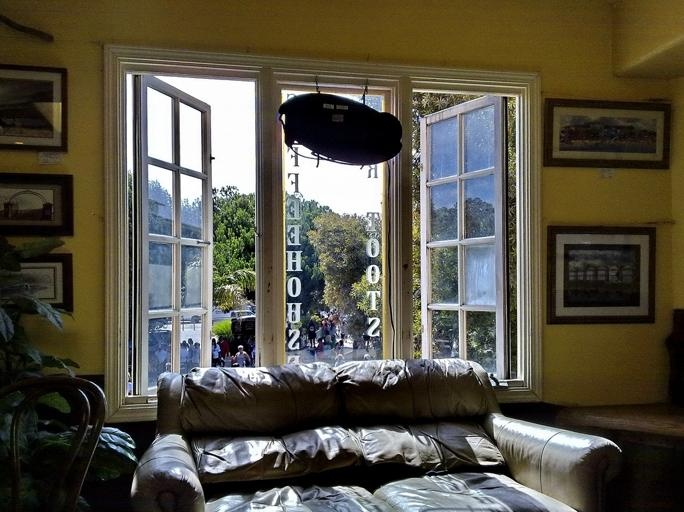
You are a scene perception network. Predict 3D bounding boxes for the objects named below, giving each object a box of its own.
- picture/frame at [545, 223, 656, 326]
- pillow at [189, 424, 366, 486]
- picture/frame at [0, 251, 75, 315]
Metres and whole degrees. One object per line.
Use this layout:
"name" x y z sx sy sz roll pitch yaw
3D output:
"picture/frame" 1.743 0.141 4.191 0.662 0.675 0.050 1 -3 -5
"pillow" -0.350 1.082 3.311 0.915 0.223 0.215 1 -2 -13
"picture/frame" -1.803 0.158 3.564 0.363 0.388 0.029 0 -3 -9
